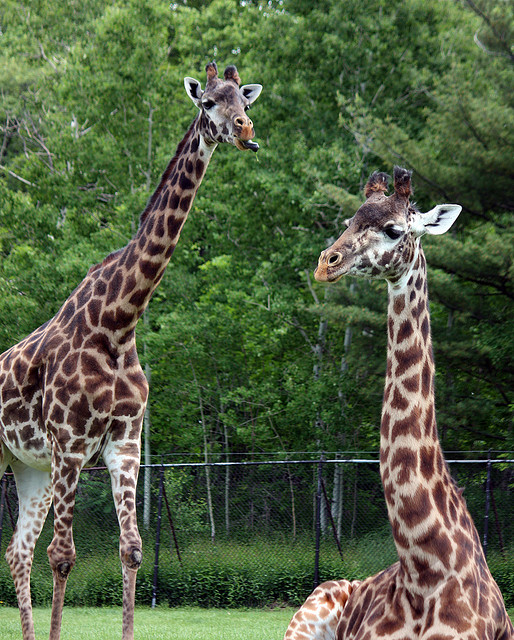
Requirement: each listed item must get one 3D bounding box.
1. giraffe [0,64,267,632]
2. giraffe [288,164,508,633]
[{"bbox_3d":[-1.775,0.386,16.173,3.389,6.454,1.423,-4,-3,41],"label":"giraffe"},{"bbox_3d":[1.566,0.858,14.547,1.849,4.923,0.961,-3,-3,15],"label":"giraffe"}]
